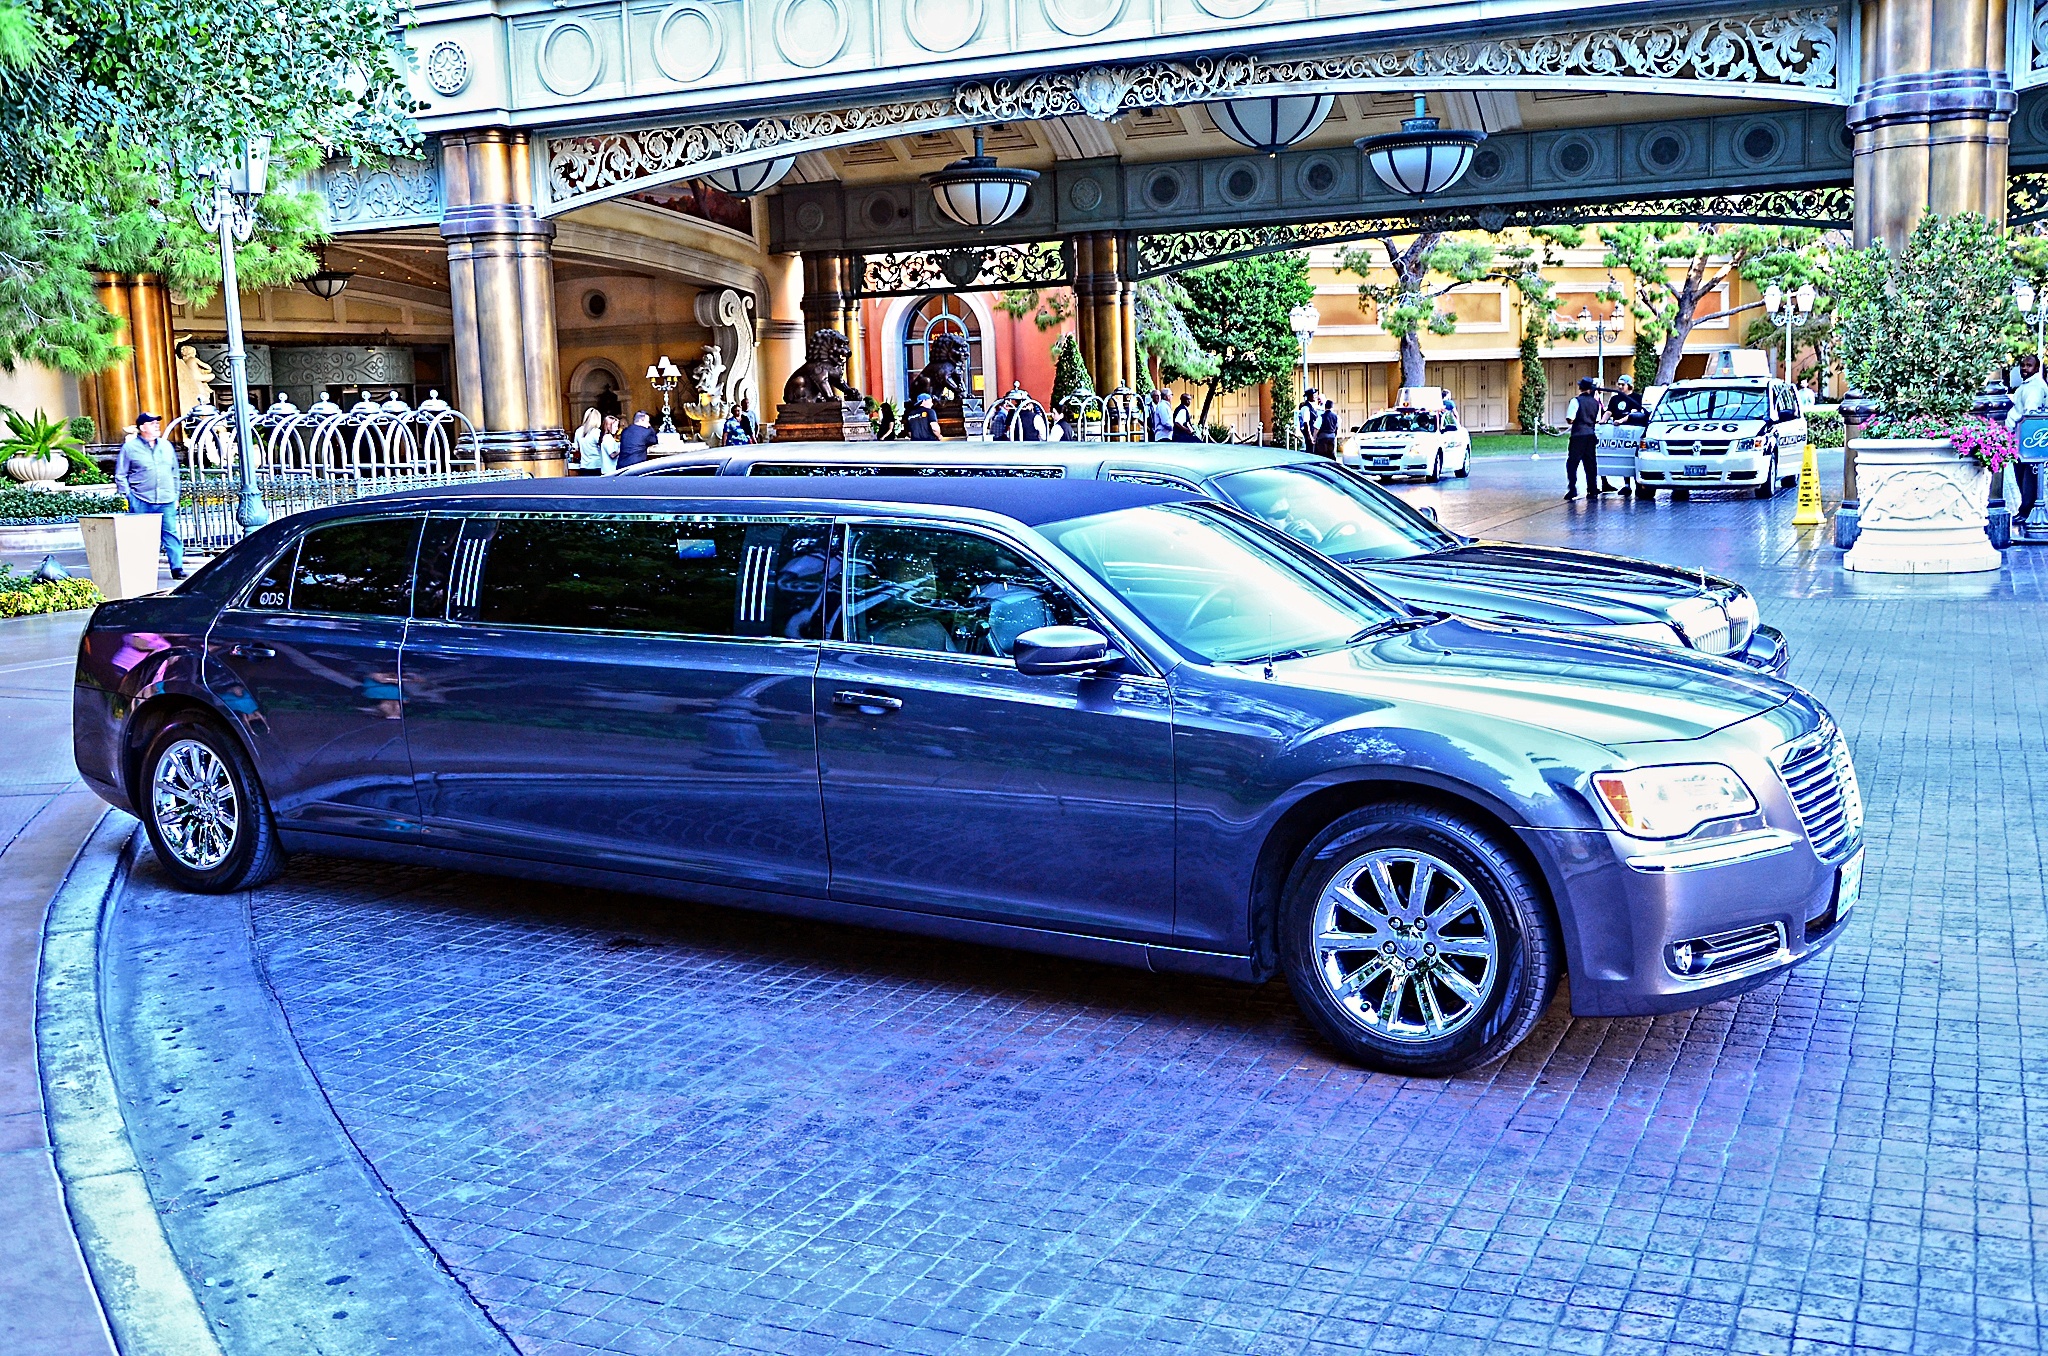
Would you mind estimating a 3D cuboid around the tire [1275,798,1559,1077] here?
[{"bbox_3d":[1.340,0.867,4.369,0.966,0.882,0.307,8,6,20],"label":"tire"}]

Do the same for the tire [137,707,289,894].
[{"bbox_3d":[-4.070,0.609,6.563,0.897,0.878,0.297,10,9,24],"label":"tire"}]

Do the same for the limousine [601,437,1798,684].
[{"bbox_3d":[1.834,-0.772,9.754,8.498,1.915,2.160,-1,26,-16],"label":"limousine"}]
